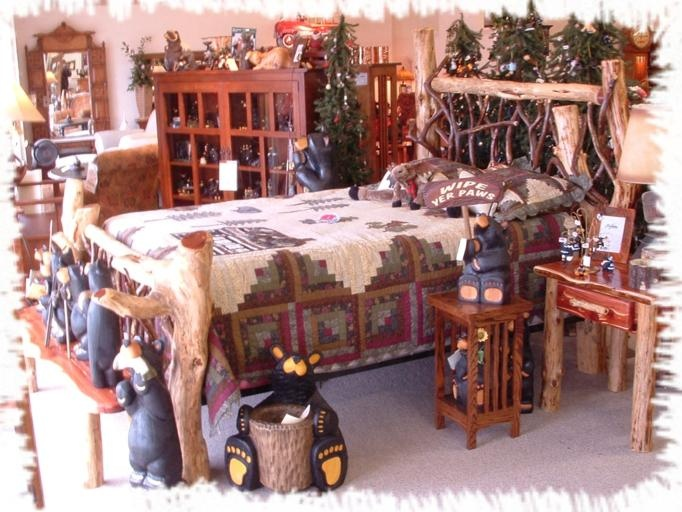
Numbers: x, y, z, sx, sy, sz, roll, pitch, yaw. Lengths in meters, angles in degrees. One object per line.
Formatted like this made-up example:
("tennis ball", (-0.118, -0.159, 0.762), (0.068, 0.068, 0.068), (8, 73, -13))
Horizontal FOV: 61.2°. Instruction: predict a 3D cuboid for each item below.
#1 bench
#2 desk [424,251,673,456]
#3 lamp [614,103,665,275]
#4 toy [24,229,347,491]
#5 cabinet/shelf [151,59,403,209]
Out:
("bench", (-1.133, 0.633, 2.637), (0.220, 0.326, 0.833), (-9, 21, -33))
("desk", (1.057, 0.450, 2.967), (1.050, 0.729, 0.908), (-5, 10, -29))
("lamp", (1.515, -0.366, 2.869), (0.192, 0.758, 0.399), (0, 13, 14))
("toy", (-0.602, 0.580, 2.561), (0.856, 0.369, 1.390), (-3, 35, -13))
("cabinet/shelf", (-1.215, -1.242, 6.597), (1.558, 1.572, 0.599), (1, 14, -4))
